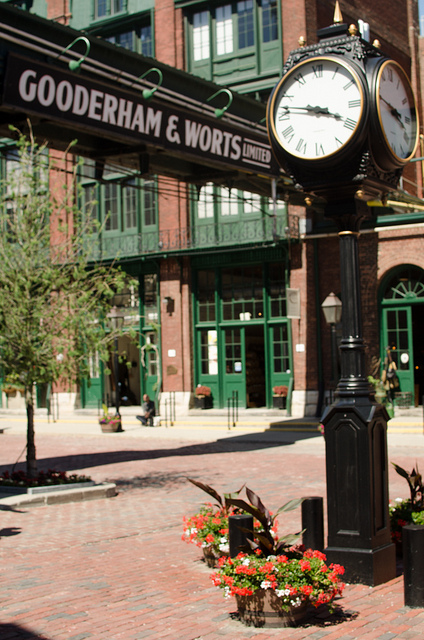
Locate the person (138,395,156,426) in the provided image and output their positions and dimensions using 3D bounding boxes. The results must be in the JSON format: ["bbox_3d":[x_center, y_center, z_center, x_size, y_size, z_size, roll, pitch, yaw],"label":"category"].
[{"bbox_3d":[-2.020,2.755,24.736,0.512,0.942,0.925,-2,-2,-5],"label":"person"}]

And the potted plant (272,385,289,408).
[{"bbox_3d":[2.144,2.341,24.460,0.671,0.747,0.580,-5,-11,30],"label":"potted plant"}]

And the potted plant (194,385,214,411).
[{"bbox_3d":[-0.263,2.494,25.769,0.698,0.952,0.679,1,-7,-14],"label":"potted plant"}]

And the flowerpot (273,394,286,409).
[{"bbox_3d":[2.017,2.441,24.273,0.377,0.473,0.518,-2,-4,24],"label":"flowerpot"}]

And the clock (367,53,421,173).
[{"bbox_3d":[1.528,-1.795,6.736,0.312,1.009,0.918,-3,-2,21],"label":"clock"}]

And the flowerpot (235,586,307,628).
[{"bbox_3d":[0.423,1.890,5.451,0.360,0.331,0.336,1,-12,-5],"label":"flowerpot"}]

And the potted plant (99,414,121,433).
[{"bbox_3d":[-2.908,2.980,23.147,0.509,0.347,0.494,3,-12,-16],"label":"potted plant"}]

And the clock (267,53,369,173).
[{"bbox_3d":[0.906,-1.717,6.630,1.036,1.091,0.164,-5,-7,43],"label":"clock"}]

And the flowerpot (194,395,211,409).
[{"bbox_3d":[-0.268,2.622,25.860,0.488,0.520,0.438,-2,-12,12],"label":"flowerpot"}]

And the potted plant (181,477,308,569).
[{"bbox_3d":[0.182,1.534,6.286,0.497,0.533,0.688,-26,-23,7],"label":"potted plant"}]
